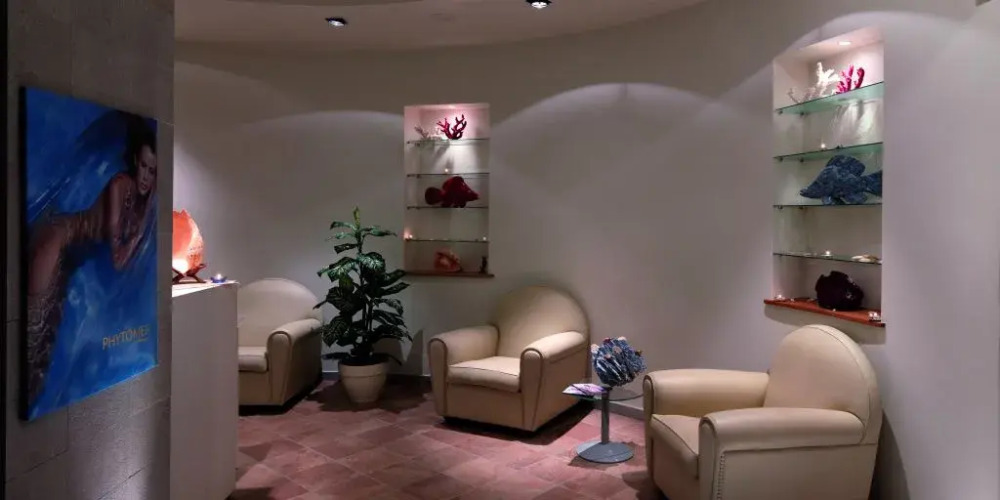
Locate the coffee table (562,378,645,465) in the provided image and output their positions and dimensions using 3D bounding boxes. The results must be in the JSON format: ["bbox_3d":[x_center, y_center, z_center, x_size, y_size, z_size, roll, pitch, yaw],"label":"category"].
[{"bbox_3d":[1.034,1.677,5.560,0.514,0.761,0.723,3,3,38],"label":"coffee table"}]

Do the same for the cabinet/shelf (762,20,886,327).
[{"bbox_3d":[3.026,-0.647,5.121,0.393,2.535,0.946,-2,4,-36],"label":"cabinet/shelf"}]

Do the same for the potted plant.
[{"bbox_3d":[-1.667,0.648,6.821,1.117,2.274,0.873,0,3,-17],"label":"potted plant"}]

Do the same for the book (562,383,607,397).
[{"bbox_3d":[0.845,1.342,5.383,0.347,0.066,0.250,2,2,32],"label":"book"}]
